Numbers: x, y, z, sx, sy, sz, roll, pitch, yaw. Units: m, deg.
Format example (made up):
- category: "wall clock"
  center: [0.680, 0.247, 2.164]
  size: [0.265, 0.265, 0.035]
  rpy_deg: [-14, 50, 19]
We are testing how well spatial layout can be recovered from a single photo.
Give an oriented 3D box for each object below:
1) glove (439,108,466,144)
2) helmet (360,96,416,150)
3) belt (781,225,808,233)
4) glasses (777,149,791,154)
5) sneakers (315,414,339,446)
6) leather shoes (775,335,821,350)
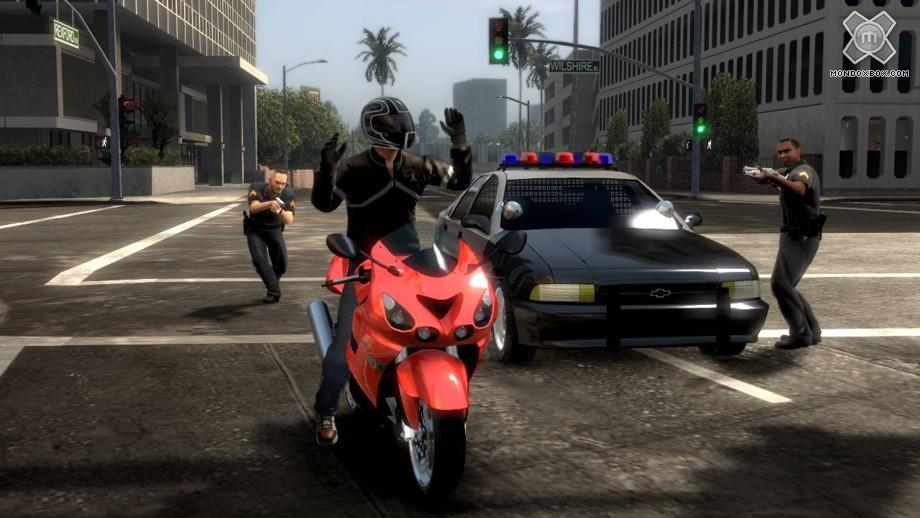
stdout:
- category: "glove"
  center: [-0.058, -1.141, 5.984]
  size: [0.210, 0.308, 0.421]
  rpy_deg: [2, 11, 9]
- category: "helmet"
  center: [-0.614, -1.162, 5.928]
  size: [0.449, 0.448, 0.324]
  rpy_deg: [-2, 11, -8]
- category: "belt"
  center: [4.519, -0.406, 9.389]
  size: [0.275, 0.103, 0.072]
  rpy_deg: [9, 14, 38]
- category: "glasses"
  center: [4.497, -1.486, 9.567]
  size: [0.163, 0.064, 0.041]
  rpy_deg: [9, 14, 38]
- category: "sneakers"
  center: [-1.252, 1.609, 6.487]
  size: [0.192, 0.301, 0.178]
  rpy_deg: [-3, 11, -14]
- category: "leather shoes"
  center: [4.544, 1.085, 9.323]
  size: [0.441, 0.161, 0.254]
  rpy_deg: [-7, 8, -9]
